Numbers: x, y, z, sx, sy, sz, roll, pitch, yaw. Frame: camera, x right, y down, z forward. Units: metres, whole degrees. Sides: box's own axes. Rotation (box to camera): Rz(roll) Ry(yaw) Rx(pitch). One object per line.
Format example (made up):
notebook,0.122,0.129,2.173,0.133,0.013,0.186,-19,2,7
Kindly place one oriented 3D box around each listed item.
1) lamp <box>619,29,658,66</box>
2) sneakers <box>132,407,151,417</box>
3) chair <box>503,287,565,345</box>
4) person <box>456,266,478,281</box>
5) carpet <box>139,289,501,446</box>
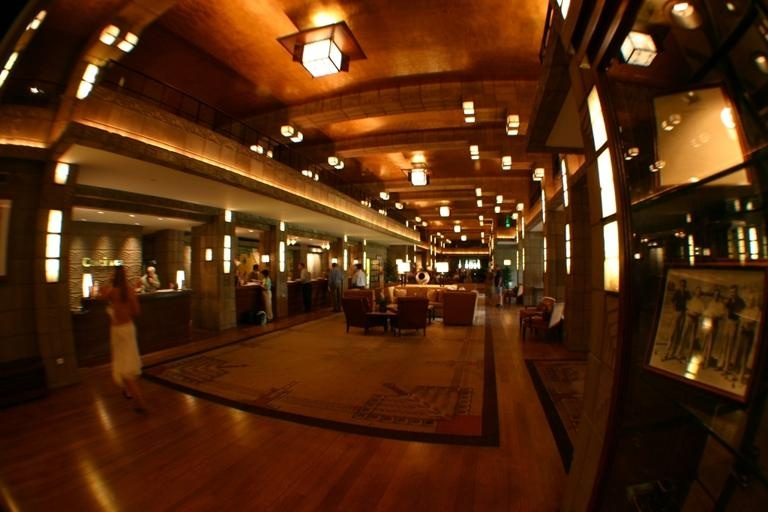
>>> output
lamp,2.280,-1.806,4.335,0.278,0.288,0.280,15,23,42
sneakers,-3.227,2.046,6.534,0.258,0.178,0.088,-2,1,20
chair,3.266,1.307,10.318,0.769,0.860,1.571,0,3,7
person,4.871,1.115,29.272,1.044,0.555,1.417,-1,-5,12
carpet,-0.646,1.930,8.720,5.781,0.317,4.943,1,3,20
